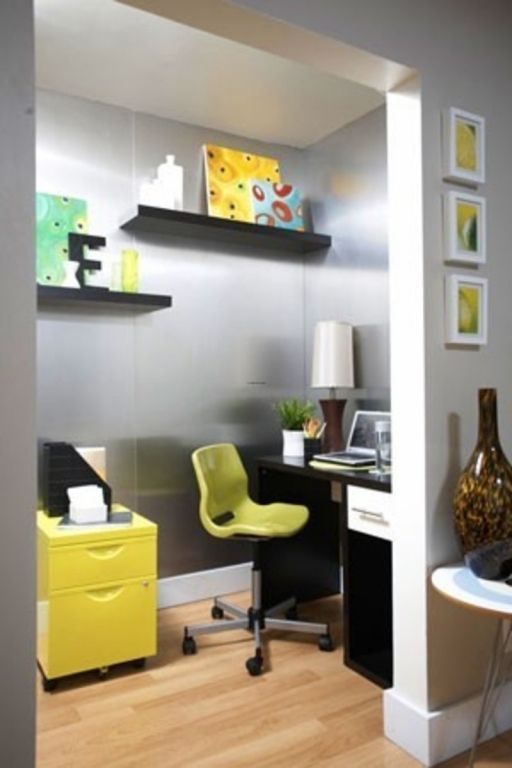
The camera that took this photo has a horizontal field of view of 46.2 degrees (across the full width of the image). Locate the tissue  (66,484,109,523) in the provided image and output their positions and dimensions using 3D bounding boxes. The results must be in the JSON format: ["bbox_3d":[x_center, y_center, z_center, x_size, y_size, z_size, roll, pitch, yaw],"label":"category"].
[{"bbox_3d":[-0.642,0.448,2.306,0.122,0.135,0.131,1,-4,-26],"label":"tissue "}]

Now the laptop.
[{"bbox_3d":[0.439,0.224,2.579,0.283,0.240,0.308,3,-2,-37],"label":"laptop"}]

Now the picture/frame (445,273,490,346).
[{"bbox_3d":[0.617,-0.219,1.763,0.182,0.294,0.037,2,-3,-32],"label":"picture/frame"}]

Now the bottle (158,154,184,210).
[{"bbox_3d":[-0.391,-0.920,2.748,0.107,0.179,0.108,0,0,0],"label":"bottle"}]

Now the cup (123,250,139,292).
[{"bbox_3d":[-0.556,-0.494,2.637,0.066,0.127,0.076,0,0,-17],"label":"cup"}]

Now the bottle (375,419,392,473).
[{"bbox_3d":[0.473,0.236,2.226,0.049,0.172,0.140,0,0,10],"label":"bottle"}]

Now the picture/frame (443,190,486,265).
[{"bbox_3d":[0.607,-0.458,1.753,0.188,0.284,0.041,3,-4,-32],"label":"picture/frame"}]

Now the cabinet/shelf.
[{"bbox_3d":[-0.606,0.797,2.431,0.467,0.765,0.537,2,-7,-28],"label":"cabinet/shelf"}]

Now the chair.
[{"bbox_3d":[0.021,0.681,2.492,0.512,0.829,0.586,-2,1,17],"label":"chair"}]

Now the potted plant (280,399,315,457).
[{"bbox_3d":[0.187,0.210,2.921,0.146,0.282,0.171,1,-15,3],"label":"potted plant"}]
